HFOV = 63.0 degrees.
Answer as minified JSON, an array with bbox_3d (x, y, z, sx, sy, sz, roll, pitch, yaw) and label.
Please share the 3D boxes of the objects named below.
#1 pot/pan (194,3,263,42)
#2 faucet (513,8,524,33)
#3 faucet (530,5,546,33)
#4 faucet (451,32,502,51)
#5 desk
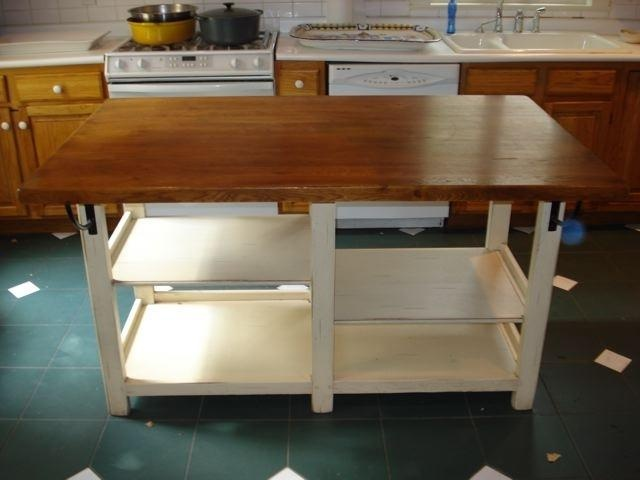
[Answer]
[{"bbox_3d":[-0.609,-1.436,3.504,0.460,0.167,0.304,-1,38,-2],"label":"pot/pan"},{"bbox_3d":[1.559,-1.713,4.066,0.084,0.161,0.330,9,29,17],"label":"faucet"},{"bbox_3d":[1.689,-1.704,4.030,0.084,0.178,0.277,10,30,18],"label":"faucet"},{"bbox_3d":[1.166,-1.473,3.877,0.404,0.095,0.323,5,27,12],"label":"faucet"},{"bbox_3d":[0.008,0.155,2.517,2.277,0.921,1.002,1,13,-2],"label":"desk"}]
